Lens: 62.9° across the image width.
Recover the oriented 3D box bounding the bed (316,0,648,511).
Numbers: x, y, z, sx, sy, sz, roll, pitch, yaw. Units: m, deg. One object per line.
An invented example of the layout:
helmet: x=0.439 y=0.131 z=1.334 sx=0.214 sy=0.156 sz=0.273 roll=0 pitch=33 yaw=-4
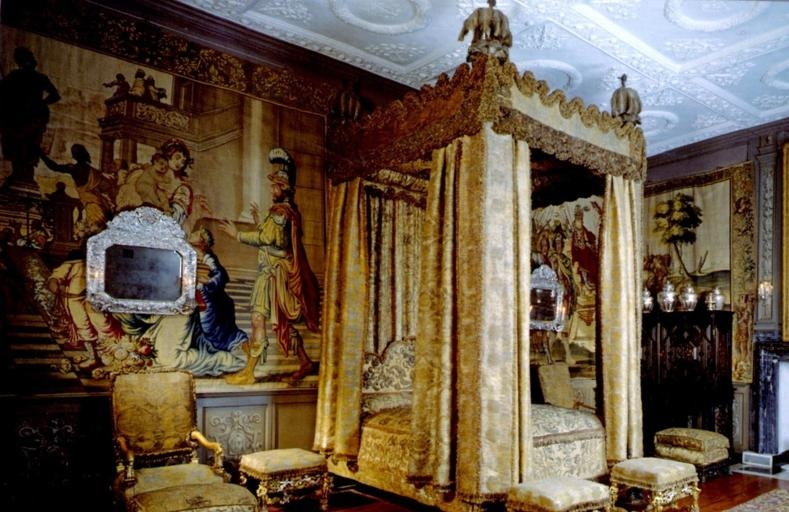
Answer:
bed: x=0.844 y=0.078 z=7.372 sx=3.768 sy=5.238 sz=2.126 roll=-2 pitch=-9 yaw=18

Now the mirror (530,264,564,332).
mirror: x=2.527 y=0.715 z=10.810 sx=1.071 sy=1.181 sz=0.099 roll=7 pitch=-9 yaw=-38

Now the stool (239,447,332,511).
stool: x=-1.193 y=2.460 z=7.256 sx=0.910 sy=0.551 sz=0.763 roll=8 pitch=-14 yaw=-34

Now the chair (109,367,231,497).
chair: x=-2.401 y=2.109 z=6.890 sx=1.308 sy=1.693 sz=1.178 roll=0 pitch=-4 yaw=-17

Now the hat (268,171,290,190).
hat: x=-1.500 y=-0.981 z=8.248 sx=0.233 sy=0.091 sz=0.201 roll=35 pitch=15 yaw=28

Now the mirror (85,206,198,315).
mirror: x=-2.980 y=0.060 z=7.395 sx=1.262 sy=1.286 sz=0.099 roll=3 pitch=-7 yaw=-33

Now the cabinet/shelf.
cabinet/shelf: x=4.639 y=1.840 z=10.271 sx=1.388 sy=1.968 sz=0.602 roll=-4 pitch=-10 yaw=28
